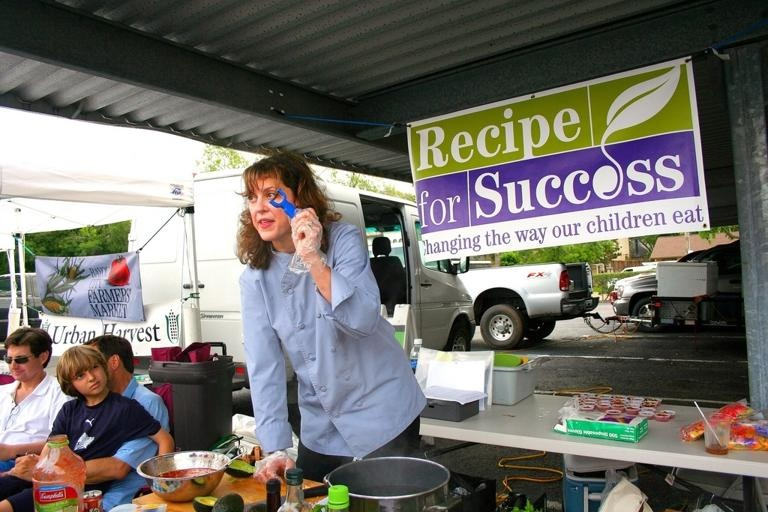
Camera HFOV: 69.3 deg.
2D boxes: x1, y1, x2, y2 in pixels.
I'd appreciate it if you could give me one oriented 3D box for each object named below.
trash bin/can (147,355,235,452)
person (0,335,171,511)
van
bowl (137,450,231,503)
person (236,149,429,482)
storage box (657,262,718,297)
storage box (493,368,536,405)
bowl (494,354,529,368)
[{"bbox_3d":[-1.804,1.329,5.543,0.831,1.091,0.869,-4,-4,28],"label":"trash bin/can"},{"bbox_3d":[-2.241,1.528,4.854,1.084,1.563,1.510,-12,-22,6],"label":"person"},{"bbox_3d":[-0.790,0.318,8.761,2.428,2.452,4.536,-4,-4,41],"label":"van"},{"bbox_3d":[-1.097,1.222,3.063,0.468,0.171,0.466,1,-2,0],"label":"bowl"},{"bbox_3d":[-0.332,0.355,3.228,1.077,1.941,0.689,-2,-2,-2],"label":"person"},{"bbox_3d":[6.703,0.541,12.019,1.410,0.748,1.409,2,-3,23],"label":"storage box"},{"bbox_3d":[1.046,1.031,4.443,0.264,0.195,0.339,-4,-10,27],"label":"storage box"},{"bbox_3d":[1.023,0.824,4.469,0.254,0.095,0.292,-2,-3,14],"label":"bowl"}]
